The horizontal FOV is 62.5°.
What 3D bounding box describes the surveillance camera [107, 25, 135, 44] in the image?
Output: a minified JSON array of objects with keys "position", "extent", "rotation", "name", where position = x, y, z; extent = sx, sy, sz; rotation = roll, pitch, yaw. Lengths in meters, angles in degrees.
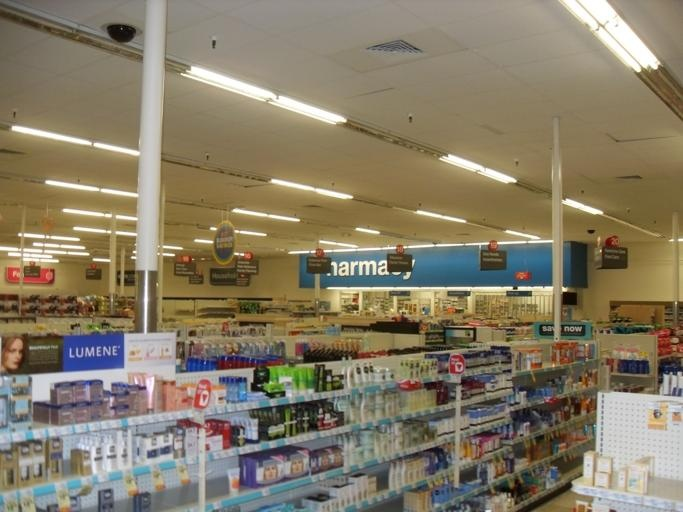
[{"position":[-2.408,-2.434,6.146],"extent":[0.313,0.122,0.295],"rotation":[0,-5,-25],"name":"surveillance camera"}]
